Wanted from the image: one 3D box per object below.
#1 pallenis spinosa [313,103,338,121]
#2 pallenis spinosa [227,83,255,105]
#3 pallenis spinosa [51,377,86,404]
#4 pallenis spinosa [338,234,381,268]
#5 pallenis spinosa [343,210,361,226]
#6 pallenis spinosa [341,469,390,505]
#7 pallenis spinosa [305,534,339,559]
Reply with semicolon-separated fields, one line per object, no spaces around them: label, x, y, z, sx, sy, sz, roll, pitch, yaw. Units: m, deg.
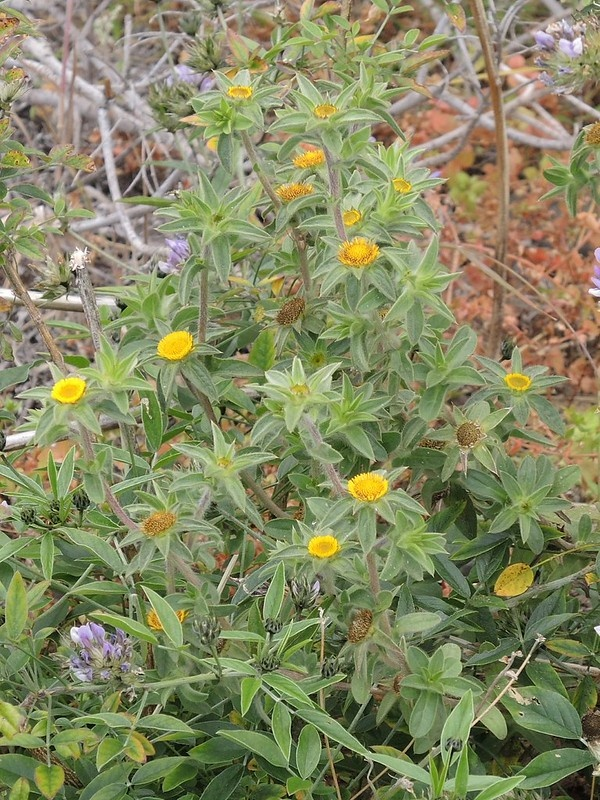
pallenis spinosa;0.052;-0.576;1.665;0.047;0.019;0.047;2;43;1
pallenis spinosa;-0.124;-0.646;1.756;0.048;0.025;0.059;14;45;14
pallenis spinosa;-0.390;-0.020;1.426;0.054;0.021;0.044;0;61;3
pallenis spinosa;0.114;-0.288;1.639;0.079;0.047;0.085;10;44;10
pallenis spinosa;0.113;-0.390;1.787;0.038;0.032;0.032;2;45;2
pallenis spinosa;0.118;0.151;1.427;0.069;0.045;0.055;-1;44;-1
pallenis spinosa;0.043;0.262;1.484;0.044;0.032;0.053;33;52;29
